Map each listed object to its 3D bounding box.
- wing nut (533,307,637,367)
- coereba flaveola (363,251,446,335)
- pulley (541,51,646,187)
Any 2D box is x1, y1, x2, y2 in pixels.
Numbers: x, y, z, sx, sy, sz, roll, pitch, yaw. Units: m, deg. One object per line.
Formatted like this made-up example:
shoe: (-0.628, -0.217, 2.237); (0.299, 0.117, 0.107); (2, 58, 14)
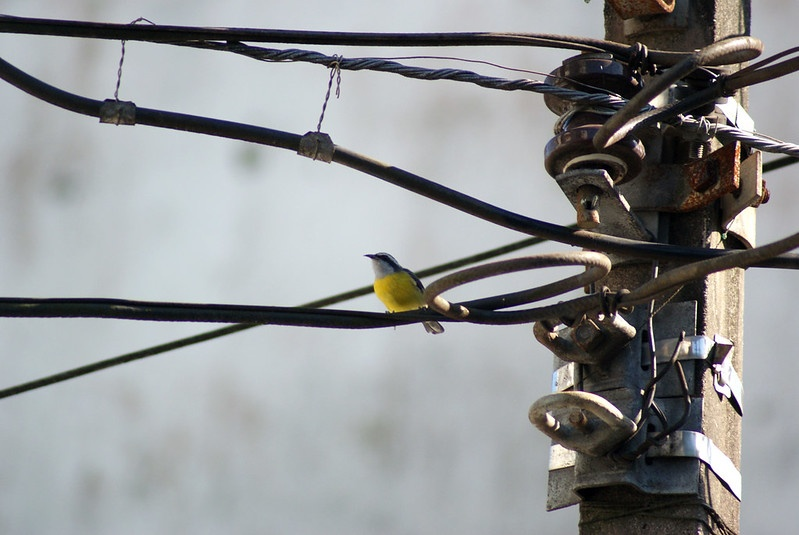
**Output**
wing nut: (1.002, 0.382, 12.189); (0.504, 0.219, 0.322); (-24, -63, 10)
coereba flaveola: (-0.017, 0.160, 15.511); (0.341, 0.459, 0.536); (-5, -62, 0)
pulley: (0.988, -0.424, 12.331); (0.442, 0.482, 0.427); (16, -24, -21)
